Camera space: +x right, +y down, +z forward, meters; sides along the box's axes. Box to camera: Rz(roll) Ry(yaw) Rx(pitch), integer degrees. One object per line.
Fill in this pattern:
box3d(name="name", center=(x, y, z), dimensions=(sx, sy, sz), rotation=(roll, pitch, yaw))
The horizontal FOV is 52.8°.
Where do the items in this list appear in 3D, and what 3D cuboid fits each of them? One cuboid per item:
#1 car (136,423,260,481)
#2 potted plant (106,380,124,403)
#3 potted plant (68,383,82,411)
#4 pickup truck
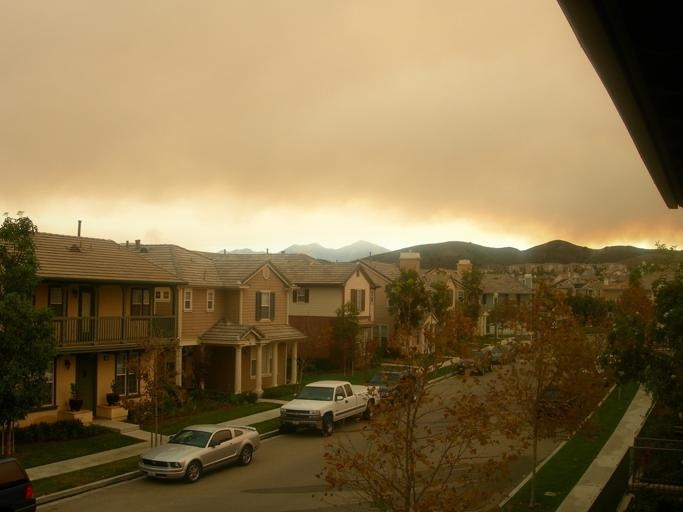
box3d(name="car", center=(-4.787, 6.716, 23.935), dimensions=(1.552, 1.130, 3.337), rotation=(-1, -6, 29))
box3d(name="potted plant", center=(-10.295, 6.128, 31.221), dimensions=(0.698, 1.038, 1.598), rotation=(0, -8, -17))
box3d(name="potted plant", center=(-11.484, 6.001, 29.525), dimensions=(0.477, 1.172, 1.342), rotation=(1, -8, -22))
box3d(name="pickup truck", center=(-0.602, 6.567, 30.218), dimensions=(2.245, 2.091, 4.195), rotation=(-8, -9, 35))
